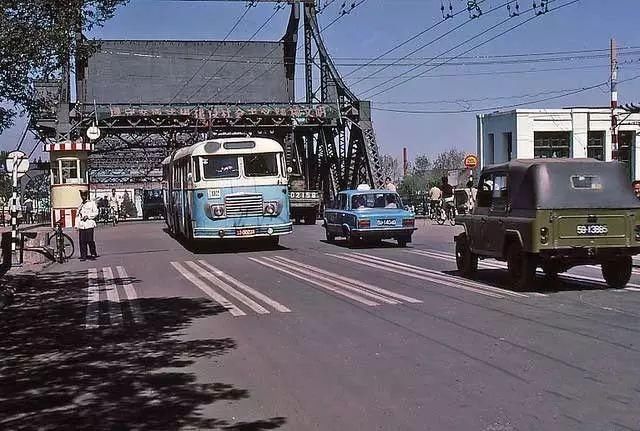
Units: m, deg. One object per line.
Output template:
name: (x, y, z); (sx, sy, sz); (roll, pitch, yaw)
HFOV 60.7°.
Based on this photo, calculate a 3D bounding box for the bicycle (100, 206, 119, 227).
bicycle: (-18.043, 0.016, 46.943); (1.439, 1.523, 2.405); (-1, -2, -22)

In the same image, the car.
car: (1.592, 0.076, 20.192); (3.470, 2.098, 1.933); (1, 3, 43)

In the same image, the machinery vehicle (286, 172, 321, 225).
machinery vehicle: (-1.058, -1.006, 37.235); (2.159, 2.186, 3.472); (0, -3, -4)

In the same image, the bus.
bus: (-3.910, -0.884, 21.340); (3.160, 4.282, 5.604); (-3, 3, -34)
